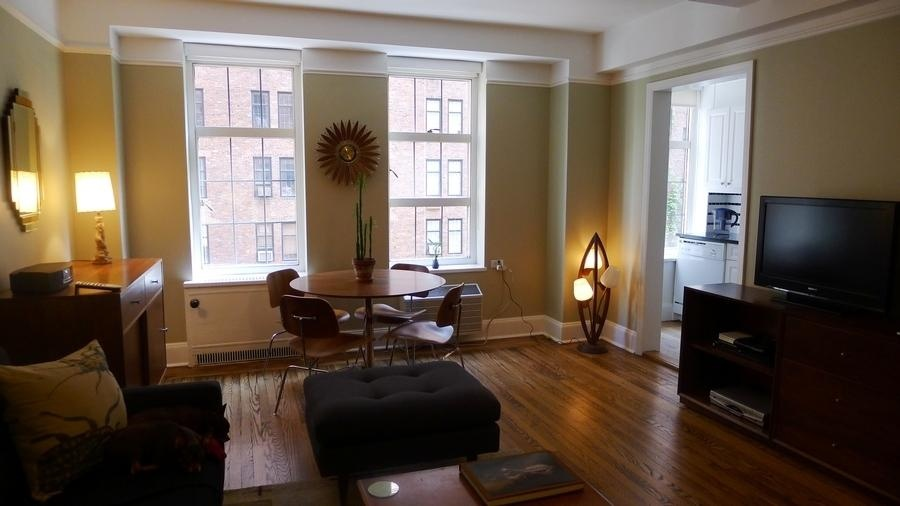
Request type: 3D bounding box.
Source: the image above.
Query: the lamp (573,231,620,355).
[{"bbox_3d":[1.758,0.467,7.181,0.523,1.413,0.491,-1,9,11],"label":"lamp"}]

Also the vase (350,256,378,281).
[{"bbox_3d":[-0.894,0.176,6.141,0.258,0.182,0.242,0,1,-1],"label":"vase"}]

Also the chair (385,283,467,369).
[{"bbox_3d":[-0.101,0.801,6.568,1.073,1.072,0.814,4,4,9],"label":"chair"}]

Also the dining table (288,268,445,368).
[{"bbox_3d":[-0.851,0.773,6.167,1.234,0.780,1.155,0,11,-9],"label":"dining table"}]

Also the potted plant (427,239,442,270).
[{"bbox_3d":[-0.186,0.017,7.410,0.170,0.326,0.331,-3,9,-1],"label":"potted plant"}]

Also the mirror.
[{"bbox_3d":[-3.805,-0.817,5.275,0.111,1.249,0.458,-4,9,-8],"label":"mirror"}]

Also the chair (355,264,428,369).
[{"bbox_3d":[-0.505,0.514,6.619,0.749,1.106,0.839,8,2,30],"label":"chair"}]

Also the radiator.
[{"bbox_3d":[-2.385,0.838,6.750,1.347,0.869,0.201,-6,-9,16],"label":"radiator"}]

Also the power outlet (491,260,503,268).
[{"bbox_3d":[0.597,0.146,7.460,0.183,0.110,0.099,0,2,-20],"label":"power outlet"}]

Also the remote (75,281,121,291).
[{"bbox_3d":[-3.005,0.285,5.056,0.309,0.070,0.159,3,3,-10],"label":"remote"}]
